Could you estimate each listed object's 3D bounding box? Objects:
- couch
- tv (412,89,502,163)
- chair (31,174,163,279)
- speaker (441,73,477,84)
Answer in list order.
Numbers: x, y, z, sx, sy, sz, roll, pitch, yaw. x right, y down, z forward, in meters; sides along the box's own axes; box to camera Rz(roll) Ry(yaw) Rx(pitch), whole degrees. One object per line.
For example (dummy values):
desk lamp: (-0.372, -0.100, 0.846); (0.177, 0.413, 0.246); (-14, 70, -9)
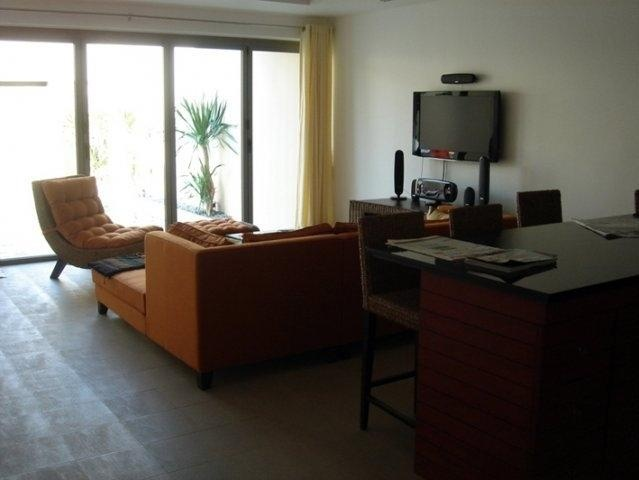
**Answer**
couch: (-0.689, -0.021, 3.355); (1.444, 0.649, 1.280); (-9, 18, -36)
tv: (1.564, -1.279, 5.379); (0.094, 0.619, 0.870); (-17, 23, -38)
chair: (-2.388, -0.133, 5.266); (1.013, 0.995, 0.863); (8, 15, 9)
speaker: (1.544, -1.782, 5.340); (0.397, 0.123, 0.122); (12, 17, 42)
